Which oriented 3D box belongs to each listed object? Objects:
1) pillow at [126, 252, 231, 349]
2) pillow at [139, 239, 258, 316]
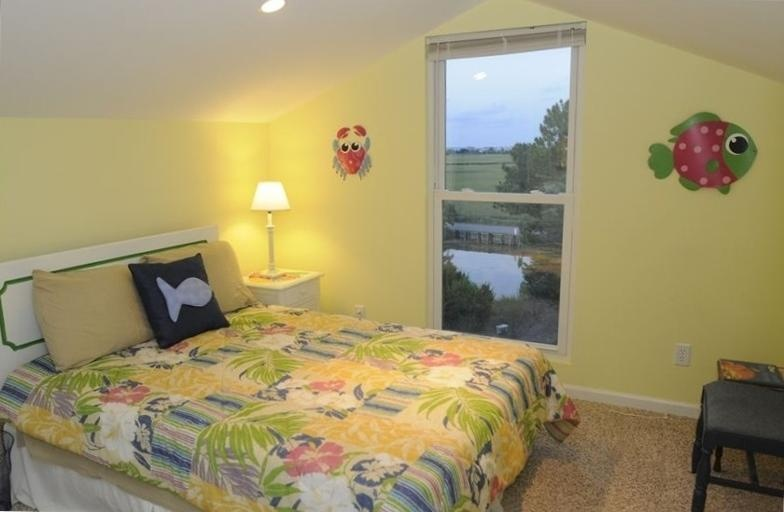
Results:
[{"bbox_3d":[-1.471,0.290,3.557,0.177,0.571,0.610,-31,-9,31],"label":"pillow"},{"bbox_3d":[-1.425,0.220,4.088,0.173,0.567,0.604,-27,-7,28],"label":"pillow"}]
